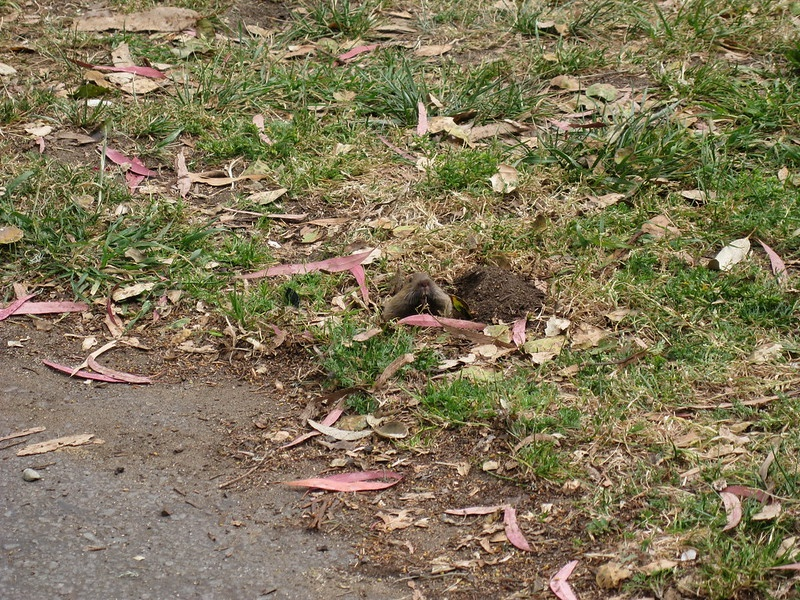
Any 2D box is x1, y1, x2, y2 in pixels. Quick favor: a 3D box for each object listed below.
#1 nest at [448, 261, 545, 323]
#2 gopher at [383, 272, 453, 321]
[{"bbox_3d":[0.660,-0.029,5.710,0.660,0.263,0.426,17,31,10],"label":"nest"},{"bbox_3d":[0.067,-0.021,5.690,0.609,0.536,0.272,-1,78,-24],"label":"gopher"}]
